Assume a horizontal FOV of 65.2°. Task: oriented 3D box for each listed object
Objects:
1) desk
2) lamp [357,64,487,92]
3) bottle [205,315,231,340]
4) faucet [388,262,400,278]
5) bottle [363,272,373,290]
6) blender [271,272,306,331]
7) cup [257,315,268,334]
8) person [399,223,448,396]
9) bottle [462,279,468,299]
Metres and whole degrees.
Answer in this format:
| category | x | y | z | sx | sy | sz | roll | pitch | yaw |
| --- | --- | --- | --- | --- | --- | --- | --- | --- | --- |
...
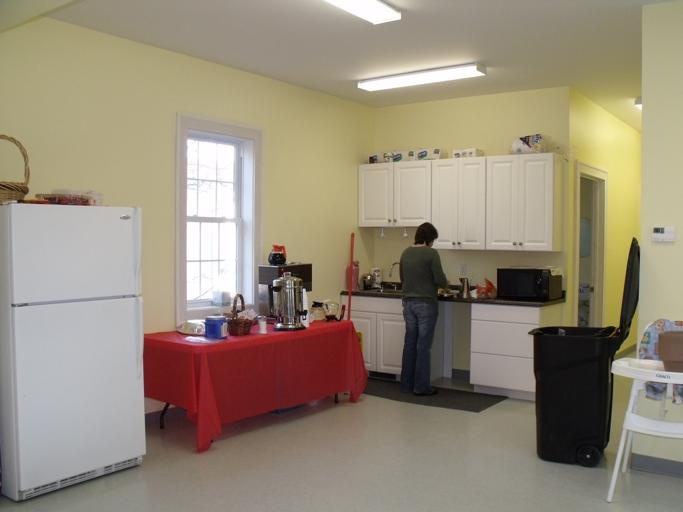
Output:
| category | x | y | z | sx | sy | sz | roll | pitch | yaw |
| --- | --- | --- | --- | --- | --- | --- | --- | --- | --- |
| desk | -0.739 | 1.135 | 5.072 | 1.967 | 0.898 | 0.692 | -3 | 5 | -36 |
| lamp | 0.879 | -1.988 | 5.955 | 1.415 | 0.110 | 0.336 | 3 | 5 | 27 |
| bottle | -1.098 | 0.620 | 4.774 | 0.182 | 0.185 | 0.187 | 0 | 1 | 35 |
| faucet | 0.717 | 0.175 | 7.257 | 0.121 | 0.231 | 0.235 | 0 | 4 | 3 |
| bottle | 0.360 | 0.329 | 7.177 | 0.151 | 0.200 | 0.157 | 0 | 4 | 0 |
| blender | -0.532 | 0.444 | 5.325 | 0.427 | 0.545 | 0.325 | 0 | -3 | -37 |
| cup | -0.781 | 0.650 | 5.082 | 0.129 | 0.215 | 0.134 | -1 | -3 | 0 |
| person | 0.907 | 0.701 | 6.008 | 0.502 | 1.655 | 0.270 | 1 | 4 | 9 |
| bottle | 1.491 | 0.371 | 6.452 | 0.097 | 0.212 | 0.291 | 1 | 4 | 12 |
